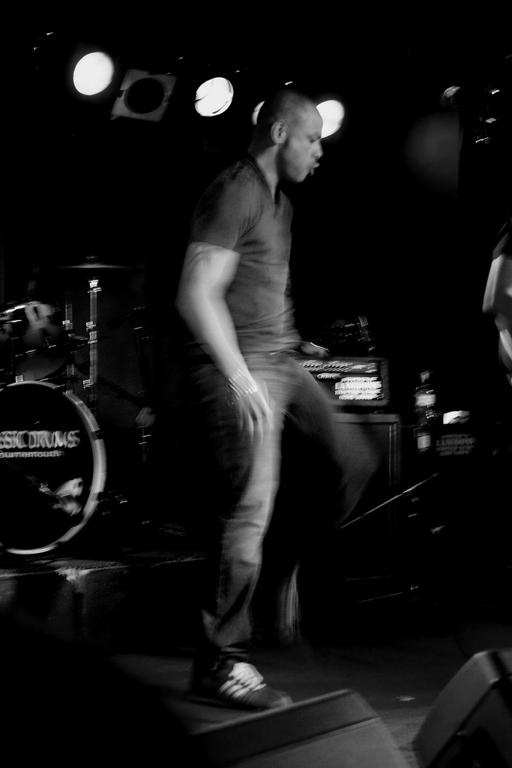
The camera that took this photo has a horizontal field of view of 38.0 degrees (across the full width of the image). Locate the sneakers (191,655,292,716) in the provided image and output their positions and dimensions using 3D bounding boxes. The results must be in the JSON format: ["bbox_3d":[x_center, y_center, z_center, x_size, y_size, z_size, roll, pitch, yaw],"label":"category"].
[{"bbox_3d":[-0.041,0.722,1.834,0.306,0.141,0.133,-12,-26,37],"label":"sneakers"}]

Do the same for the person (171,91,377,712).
[{"bbox_3d":[0.053,-0.036,2.346,0.452,1.659,1.246,1,-4,8],"label":"person"}]

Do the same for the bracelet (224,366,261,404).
[{"bbox_3d":[-0.032,0.002,1.896,0.097,0.059,0.026,49,-15,-33],"label":"bracelet"}]
